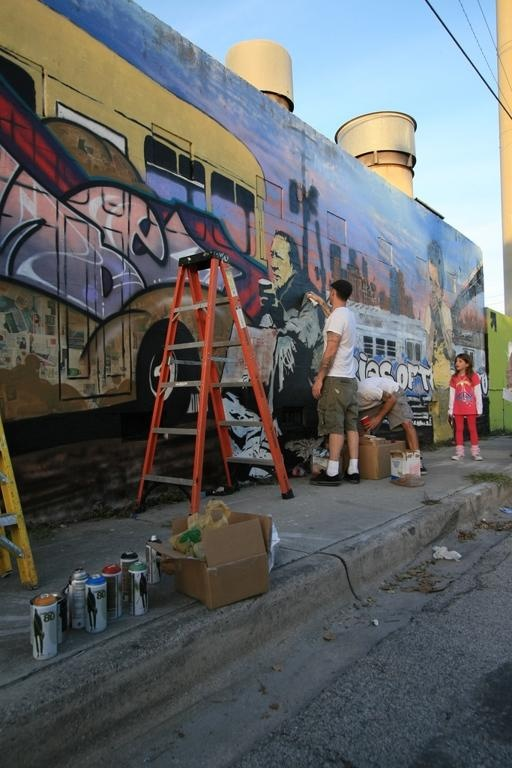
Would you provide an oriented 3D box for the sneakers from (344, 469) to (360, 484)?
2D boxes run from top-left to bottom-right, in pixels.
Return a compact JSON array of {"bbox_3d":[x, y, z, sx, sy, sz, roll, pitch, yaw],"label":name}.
[{"bbox_3d":[0.948,0.926,5.242,0.066,0.081,0.168,1,1,-20],"label":"sneakers"}]

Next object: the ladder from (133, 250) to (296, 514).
[{"bbox_3d":[-0.328,-0.057,4.351,1.152,2.053,1.894,3,0,-12],"label":"ladder"}]

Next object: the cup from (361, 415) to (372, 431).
[{"bbox_3d":[1.240,0.449,6.047,0.136,0.107,0.134,-18,-1,0],"label":"cup"}]

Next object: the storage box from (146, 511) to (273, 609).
[{"bbox_3d":[-0.188,0.743,2.311,0.475,0.324,0.485,-6,-3,28],"label":"storage box"}]

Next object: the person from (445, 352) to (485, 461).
[{"bbox_3d":[3.024,0.320,7.667,0.469,1.542,1.088,3,0,21],"label":"person"}]

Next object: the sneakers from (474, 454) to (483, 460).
[{"bbox_3d":[3.030,1.012,7.267,0.051,0.067,0.149,-9,-13,7],"label":"sneakers"}]

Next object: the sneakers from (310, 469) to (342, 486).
[{"bbox_3d":[0.665,0.889,5.051,0.271,0.142,0.125,1,-1,22],"label":"sneakers"}]

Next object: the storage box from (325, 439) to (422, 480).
[{"bbox_3d":[1.249,0.754,5.480,0.403,0.414,0.606,0,2,39],"label":"storage box"}]

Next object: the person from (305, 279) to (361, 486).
[{"bbox_3d":[0.898,-0.023,5.497,0.497,1.983,1.223,3,0,21],"label":"person"}]

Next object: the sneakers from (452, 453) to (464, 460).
[{"bbox_3d":[2.794,1.011,7.366,0.221,0.102,0.077,3,-7,-39],"label":"sneakers"}]
